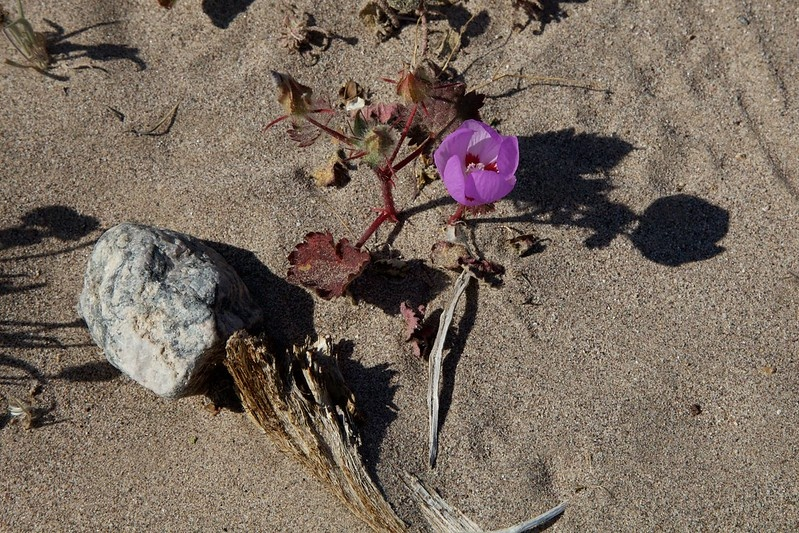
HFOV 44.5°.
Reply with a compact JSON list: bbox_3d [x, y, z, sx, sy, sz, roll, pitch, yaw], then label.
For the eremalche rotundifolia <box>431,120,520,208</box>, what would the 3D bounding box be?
[{"bbox_3d":[0.564,-0.807,7.296,0.626,0.440,0.590,-37,100,3],"label":"eremalche rotundifolia"}]
